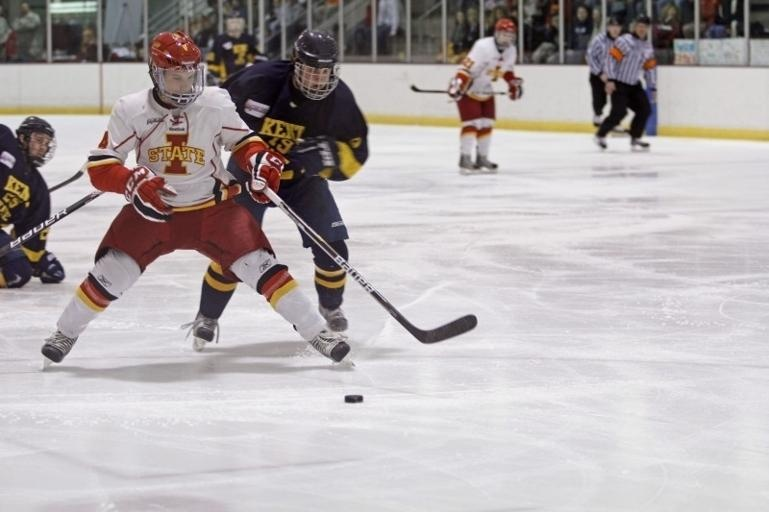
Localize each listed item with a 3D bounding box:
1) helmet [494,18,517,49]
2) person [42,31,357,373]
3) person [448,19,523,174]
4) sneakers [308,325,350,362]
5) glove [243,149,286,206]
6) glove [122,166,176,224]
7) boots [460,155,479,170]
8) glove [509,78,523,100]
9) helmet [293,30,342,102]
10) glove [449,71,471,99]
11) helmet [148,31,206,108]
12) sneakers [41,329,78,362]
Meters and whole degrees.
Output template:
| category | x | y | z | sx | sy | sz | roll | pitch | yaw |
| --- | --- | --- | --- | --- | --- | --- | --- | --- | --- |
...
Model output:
| category | x | y | z | sx | sy | sz | roll | pitch | yaw |
| --- | --- | --- | --- | --- | --- | --- | --- | --- | --- |
| helmet | 1.120 | -2.054 | 8.698 | 0.187 | 0.273 | 0.354 | 0 | 13 | 4 |
| person | -0.674 | -0.201 | 3.257 | 1.057 | 1.122 | 0.315 | -1 | 15 | 1 |
| person | 0.956 | -1.508 | 8.791 | 0.468 | 1.370 | 0.873 | 11 | 18 | 37 |
| sneakers | -0.194 | 0.301 | 3.317 | 0.193 | 0.073 | 0.081 | 20 | -21 | 50 |
| glove | -0.438 | -0.282 | 3.335 | 0.082 | 0.157 | 0.174 | 12 | -23 | -24 |
| glove | -0.801 | -0.206 | 3.181 | 0.165 | 0.193 | 0.158 | -5 | 15 | -15 |
| boots | 0.788 | -0.872 | 8.685 | 0.176 | 0.131 | 0.214 | 0 | 13 | 4 |
| glove | 1.245 | -1.613 | 9.056 | 0.206 | 0.168 | 0.074 | -6 | 7 | -26 |
| helmet | -0.263 | -0.709 | 3.479 | 0.218 | 0.222 | 0.246 | -5 | 40 | -12 |
| glove | 0.688 | -1.571 | 8.567 | 0.111 | 0.250 | 0.186 | 40 | 6 | -23 |
| helmet | -0.721 | -0.644 | 3.232 | 0.180 | 0.251 | 0.238 | -4 | 14 | -13 |
| sneakers | -1.154 | 0.318 | 3.287 | 0.068 | 0.061 | 0.162 | -45 | 16 | -9 |
